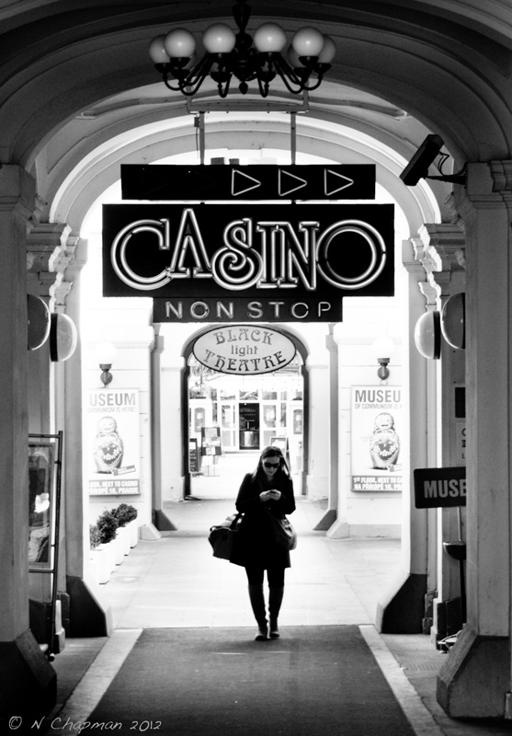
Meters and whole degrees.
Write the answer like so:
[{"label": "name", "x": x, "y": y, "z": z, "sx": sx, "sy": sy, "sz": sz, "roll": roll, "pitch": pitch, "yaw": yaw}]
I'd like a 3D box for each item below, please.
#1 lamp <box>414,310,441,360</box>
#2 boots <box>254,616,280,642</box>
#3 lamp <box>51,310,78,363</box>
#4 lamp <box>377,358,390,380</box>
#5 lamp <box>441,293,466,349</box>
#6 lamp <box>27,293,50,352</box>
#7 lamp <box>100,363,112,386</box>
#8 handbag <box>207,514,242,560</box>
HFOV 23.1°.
[{"label": "lamp", "x": 1.157, "y": -0.226, "z": 8.378, "sx": 0.169, "sy": 0.317, "sz": 0.259, "roll": 0, "pitch": 0, "yaw": 8}, {"label": "boots", "x": 0.077, "y": 1.787, "z": 8.590, "sx": 0.104, "sy": 0.144, "sz": 0.326, "roll": -2, "pitch": -15, "yaw": 7}, {"label": "lamp", "x": -1.303, "y": -0.210, "z": 8.408, "sx": 0.164, "sy": 0.313, "sz": 0.255, "roll": 0, "pitch": 0, "yaw": -6}, {"label": "lamp", "x": 1.399, "y": 0.011, "z": 13.584, "sx": 0.142, "sy": 0.243, "sz": 0.145, "roll": 0, "pitch": 0, "yaw": -3}, {"label": "lamp", "x": 1.207, "y": -0.292, "z": 7.565, "sx": 0.124, "sy": 0.331, "sz": 0.311, "roll": 0, "pitch": 0, "yaw": -16}, {"label": "lamp", "x": -1.320, "y": -0.282, "z": 7.548, "sx": 0.191, "sy": 0.322, "sz": 0.097, "roll": 0, "pitch": 0, "yaw": -41}, {"label": "lamp", "x": -1.652, "y": 0.070, "z": 13.738, "sx": 0.135, "sy": 0.254, "sz": 0.423, "roll": 0, "pitch": 0, "yaw": -4}, {"label": "handbag", "x": -0.204, "y": 1.146, "z": 8.520, "sx": 0.215, "sy": 0.308, "sz": 0.182, "roll": 0, "pitch": 0, "yaw": 0}]
